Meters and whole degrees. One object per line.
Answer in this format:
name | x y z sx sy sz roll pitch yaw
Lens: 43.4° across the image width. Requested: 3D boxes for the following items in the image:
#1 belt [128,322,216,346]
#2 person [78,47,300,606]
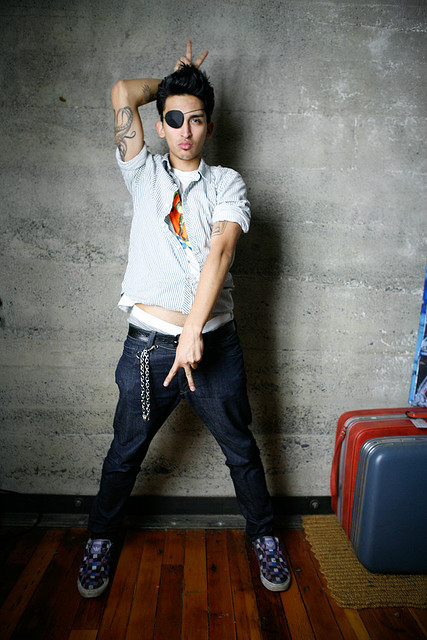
belt | -0.165 0.029 1.816 0.212 0.065 0.171 2 11 -6
person | -0.066 -0.033 1.858 0.814 1.877 0.629 0 10 -12
